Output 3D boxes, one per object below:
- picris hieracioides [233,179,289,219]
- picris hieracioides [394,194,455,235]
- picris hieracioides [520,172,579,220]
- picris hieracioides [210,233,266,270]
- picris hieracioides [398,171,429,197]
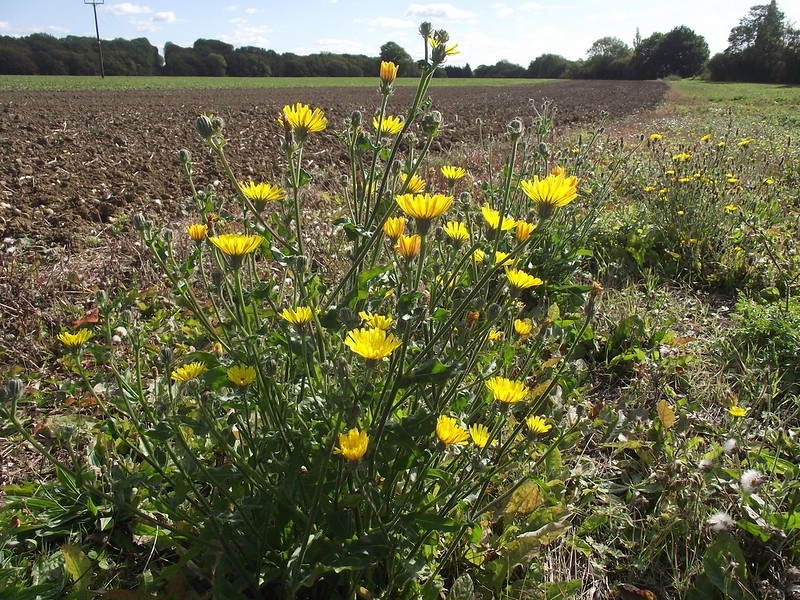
[{"bbox_3d":[-0.559,-0.395,2.288,0.188,0.108,0.194,19,23,-13],"label":"picris hieracioides"},{"bbox_3d":[0.087,-0.324,2.102,0.155,0.122,0.168,2,13,13],"label":"picris hieracioides"},{"bbox_3d":[0.548,-0.384,2.110,0.174,0.172,0.243,14,35,17],"label":"picris hieracioides"},{"bbox_3d":[-0.605,-0.195,2.141,0.147,0.109,0.156,0,13,-5],"label":"picris hieracioides"},{"bbox_3d":[0.056,-0.512,2.487,0.057,0.131,0.131,-15,56,-33],"label":"picris hieracioides"}]
